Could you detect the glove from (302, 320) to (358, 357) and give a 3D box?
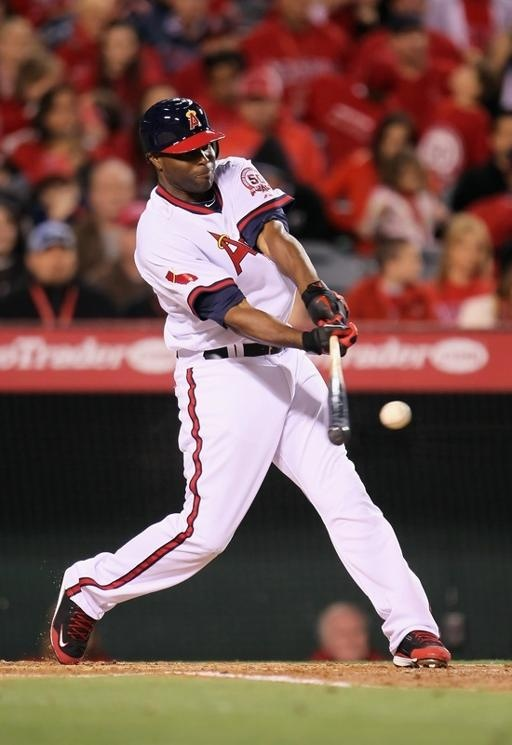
[{"bbox_3d":[0.185,-0.086,2.194,0.089,0.048,0.111,1,1,-41],"label":"glove"}]

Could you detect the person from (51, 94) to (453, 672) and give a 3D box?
[{"bbox_3d":[-0.182,0.114,2.359,0.921,1.290,1.234,-15,43,-10],"label":"person"}]

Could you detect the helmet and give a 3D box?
[{"bbox_3d":[-0.200,-0.647,2.389,0.192,0.129,0.228,-24,44,-21],"label":"helmet"}]

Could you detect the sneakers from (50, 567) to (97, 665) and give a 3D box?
[{"bbox_3d":[-0.532,0.692,2.562,0.130,0.105,0.278,-13,67,33],"label":"sneakers"}]

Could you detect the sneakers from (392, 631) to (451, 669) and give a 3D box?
[{"bbox_3d":[0.427,0.747,2.383,0.074,0.176,0.074,8,74,-29],"label":"sneakers"}]

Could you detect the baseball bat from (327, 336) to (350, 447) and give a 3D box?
[{"bbox_3d":[0.206,0.039,2.253,0.063,0.261,0.030,4,-6,-24],"label":"baseball bat"}]
